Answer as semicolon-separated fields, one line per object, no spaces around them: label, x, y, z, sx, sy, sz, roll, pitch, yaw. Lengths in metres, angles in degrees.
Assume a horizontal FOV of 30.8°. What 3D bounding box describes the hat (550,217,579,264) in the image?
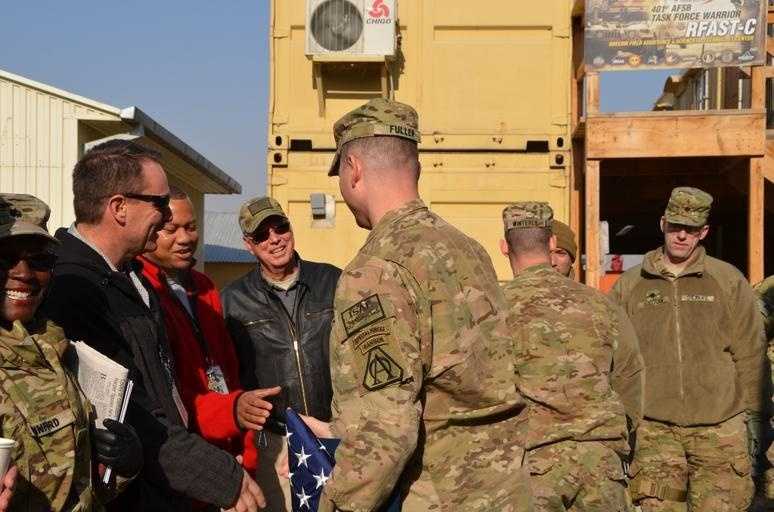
hat;1.644;-0.176;13.175;0.277;0.264;0.353;10;-1;-1

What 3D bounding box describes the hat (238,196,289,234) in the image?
hat;-1.146;-0.412;12.803;0.429;0.264;0.551;-20;18;-16

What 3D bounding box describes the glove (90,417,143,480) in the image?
glove;-2.102;1.491;10.980;0.481;0.167;0.347;24;-24;30

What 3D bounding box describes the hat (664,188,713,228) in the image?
hat;2.820;-0.464;13.167;0.397;0.216;0.508;20;31;17
